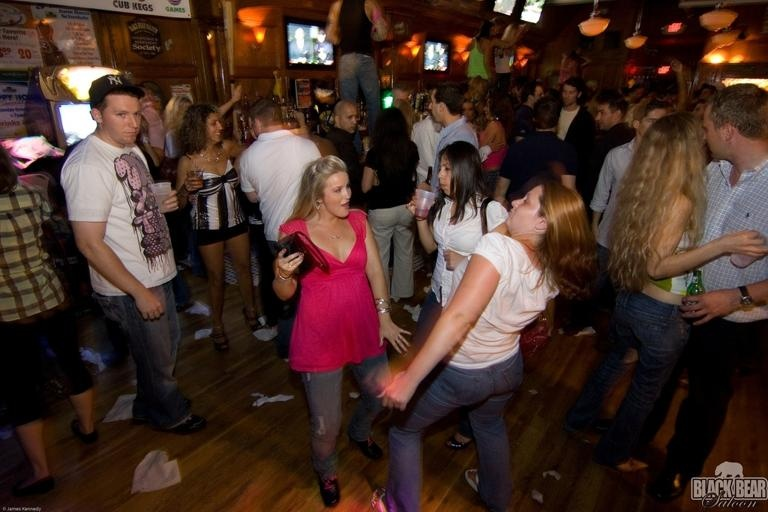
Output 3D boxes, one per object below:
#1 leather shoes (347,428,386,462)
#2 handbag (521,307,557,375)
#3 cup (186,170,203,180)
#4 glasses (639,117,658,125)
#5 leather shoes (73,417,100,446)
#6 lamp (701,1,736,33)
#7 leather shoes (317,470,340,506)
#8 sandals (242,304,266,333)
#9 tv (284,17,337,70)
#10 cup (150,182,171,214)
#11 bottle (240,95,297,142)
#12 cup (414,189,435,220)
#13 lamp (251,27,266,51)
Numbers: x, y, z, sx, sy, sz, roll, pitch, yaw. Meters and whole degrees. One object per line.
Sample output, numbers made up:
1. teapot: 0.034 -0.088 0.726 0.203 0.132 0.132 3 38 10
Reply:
1. leather shoes: -0.124 1.494 3.518 0.332 0.149 0.140 29 36 18
2. handbag: 1.297 0.746 3.769 0.178 0.599 0.609 22 5 14
3. cup: -1.686 -0.706 3.959 0.100 0.091 0.104 -6 19 2
4. glasses: 2.231 -1.129 3.762 0.067 0.055 0.071 2 8 7
5. leather shoes: -2.389 1.421 3.590 0.274 0.109 0.120 31 22 26
6. lamp: 4.855 -3.501 6.453 0.382 0.356 0.667 17 26 36
7. leather shoes: -0.406 1.656 3.173 0.125 0.235 0.101 -14 0 -9
8. sandals: -1.373 0.659 4.753 0.150 0.180 0.405 -21 22 -28
9. tv: -1.354 -3.726 7.881 0.146 0.837 1.190 21 31 33
10. cup: -1.658 -0.430 3.280 0.157 0.201 0.139 12 30 0
11. bottle: -1.058 -1.231 4.019 0.311 0.335 0.475 -6 22 -14
12. cup: 0.328 -0.393 3.409 0.186 0.207 0.192 7 16 -2
13. lamp: -2.124 -3.640 7.469 0.258 0.344 0.122 -20 29 -40
